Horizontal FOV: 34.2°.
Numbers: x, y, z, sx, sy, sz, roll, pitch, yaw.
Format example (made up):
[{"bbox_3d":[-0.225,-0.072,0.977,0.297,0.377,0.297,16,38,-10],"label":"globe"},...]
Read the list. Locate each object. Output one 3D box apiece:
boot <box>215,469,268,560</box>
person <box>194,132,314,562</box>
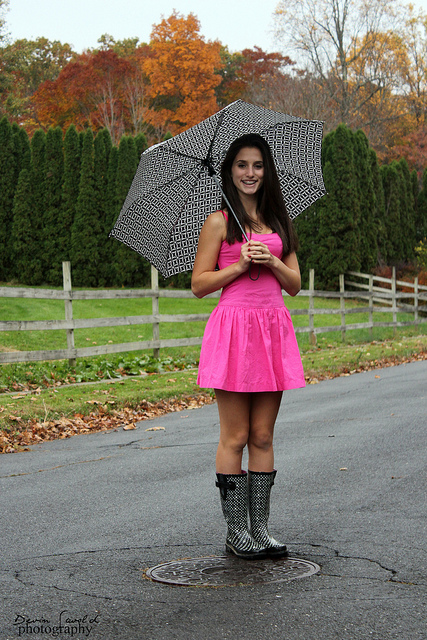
[{"bbox_3d":[0.137,0.896,3.229,0.215,0.405,0.192,-3,0,6],"label":"boot"},{"bbox_3d":[0.172,0.077,3.337,0.526,1.997,0.649,-3,0,5],"label":"person"}]
